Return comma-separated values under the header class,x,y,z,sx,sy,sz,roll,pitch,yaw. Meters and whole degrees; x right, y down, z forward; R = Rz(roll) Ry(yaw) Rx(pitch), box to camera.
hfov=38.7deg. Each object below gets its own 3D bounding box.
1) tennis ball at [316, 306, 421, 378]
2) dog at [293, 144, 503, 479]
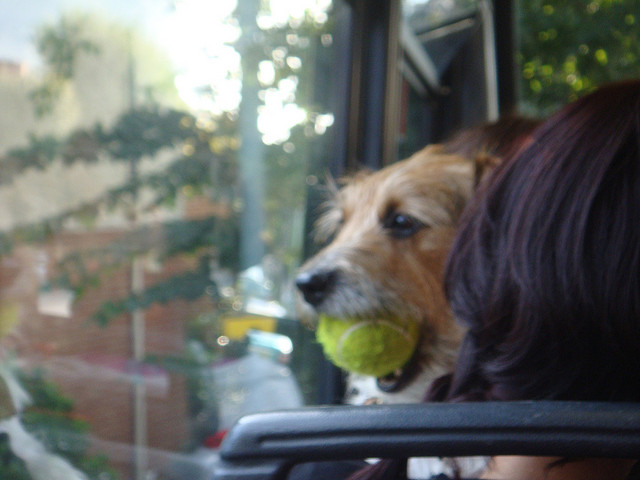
class,x,y,z,sx,sy,sz,roll,pitch,yaw
tennis ball,0.140,0.274,2.763,0.222,0.226,0.226,-42,23,22
dog,0.302,0.252,3.235,0.801,1.327,0.782,3,-8,12
